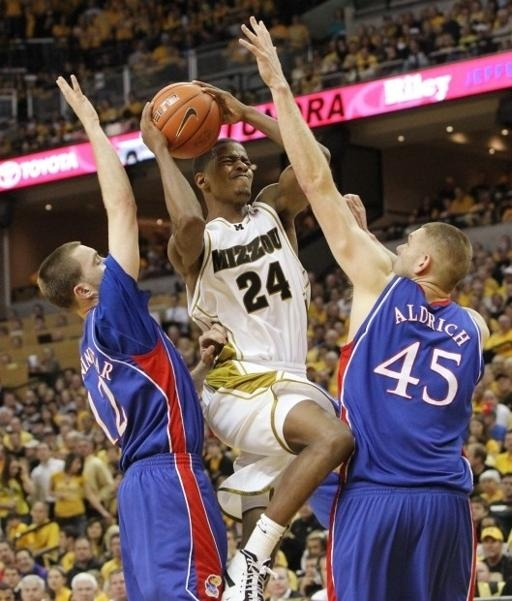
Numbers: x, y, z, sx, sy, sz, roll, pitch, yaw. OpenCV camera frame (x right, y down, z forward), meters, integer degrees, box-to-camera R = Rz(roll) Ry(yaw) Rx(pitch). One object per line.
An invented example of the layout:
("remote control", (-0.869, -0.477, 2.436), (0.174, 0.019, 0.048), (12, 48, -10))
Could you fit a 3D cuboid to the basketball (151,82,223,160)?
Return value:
("basketball", (-0.323, -0.832, 4.208), (0.307, 0.318, 0.155), (-9, 15, -4))
